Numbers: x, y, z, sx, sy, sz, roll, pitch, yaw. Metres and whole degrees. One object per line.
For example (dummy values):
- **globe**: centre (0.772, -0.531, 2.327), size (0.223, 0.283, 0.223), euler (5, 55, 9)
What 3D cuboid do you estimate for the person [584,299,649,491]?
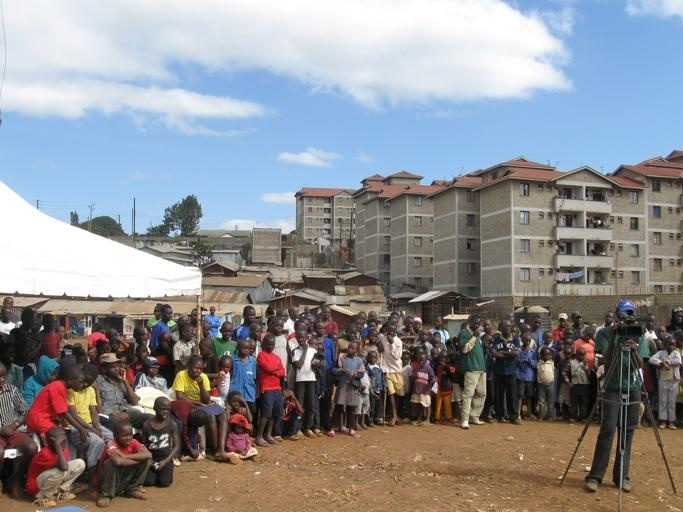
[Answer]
- **person**: centre (4.981, 2.439, 16.795), size (1.016, 3.175, 1.252), euler (1, -2, -18)

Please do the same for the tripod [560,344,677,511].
- **tripod**: centre (4.948, 2.985, 17.186), size (1.892, 2.933, 1.838), euler (1, -2, 39)

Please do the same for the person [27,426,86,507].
- **person**: centre (-4.910, 3.565, 15.841), size (0.916, 1.278, 0.449), euler (0, 3, -19)

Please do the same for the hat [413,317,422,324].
- **hat**: centre (1.891, 1.594, 22.779), size (0.199, 0.154, 0.259), euler (0, -3, 2)

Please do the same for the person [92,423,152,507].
- **person**: centre (-3.890, 3.638, 16.357), size (0.968, 1.295, 0.976), euler (7, -3, 41)
